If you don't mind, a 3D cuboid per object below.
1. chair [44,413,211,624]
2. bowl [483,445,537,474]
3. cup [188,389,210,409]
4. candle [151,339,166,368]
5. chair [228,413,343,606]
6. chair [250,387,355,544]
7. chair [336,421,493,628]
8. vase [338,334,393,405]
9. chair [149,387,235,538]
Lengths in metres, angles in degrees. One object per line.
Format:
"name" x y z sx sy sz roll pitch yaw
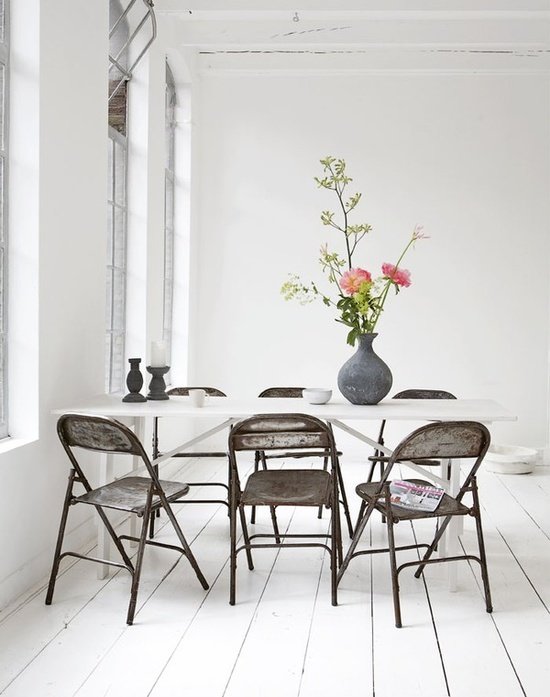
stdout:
"chair" -0.633 0.624 2.632 0.621 0.771 0.844 0 1 -19
"bowl" 1.804 0.863 4.773 0.266 0.096 0.265 -1 1 0
"cup" -0.355 0.233 2.923 0.090 0.066 0.071 4 -5 -12
"candle" -0.589 0.025 3.135 0.056 0.119 0.048 0 1 -2
"chair" 0.047 0.627 2.789 0.519 0.776 0.907 1 1 2
"chair" 0.137 0.646 3.692 0.565 0.772 0.598 -14 15 3
"chair" 0.568 0.631 2.520 0.589 0.729 0.627 2 0 15
"vase" 0.393 0.112 3.199 0.330 0.422 0.330 2 -3 0
"chair" -0.519 0.640 3.784 0.531 0.807 0.530 -7 3 -4
